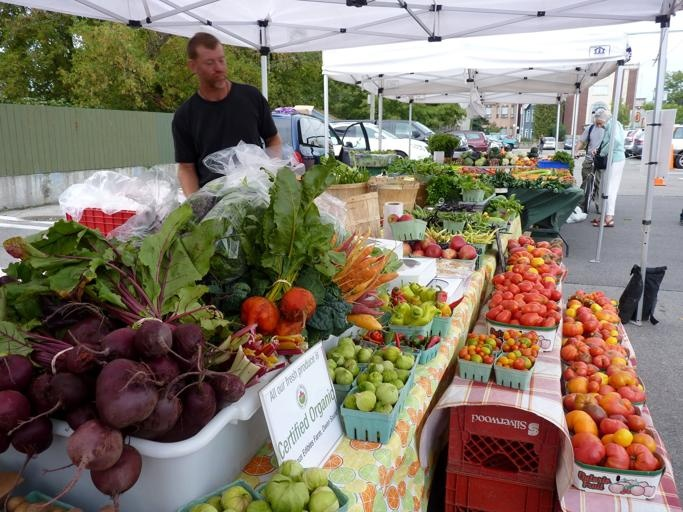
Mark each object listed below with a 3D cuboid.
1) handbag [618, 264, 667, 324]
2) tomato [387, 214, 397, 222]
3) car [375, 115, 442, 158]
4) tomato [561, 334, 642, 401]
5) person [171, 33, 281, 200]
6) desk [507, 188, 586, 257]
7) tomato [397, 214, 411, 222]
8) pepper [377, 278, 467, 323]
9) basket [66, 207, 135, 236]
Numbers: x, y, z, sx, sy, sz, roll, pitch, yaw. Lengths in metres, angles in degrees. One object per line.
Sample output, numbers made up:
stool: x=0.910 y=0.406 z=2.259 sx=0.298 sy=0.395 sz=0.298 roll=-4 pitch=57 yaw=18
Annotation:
handbag: x=3.417 y=0.421 z=5.101 sx=0.464 sy=0.660 sz=0.286 roll=4 pitch=17 yaw=10
tomato: x=0.419 y=-0.309 z=3.697 sx=0.073 sy=0.059 sz=0.061 roll=-27 pitch=-18 yaw=25
car: x=2.345 y=-3.920 z=15.699 sx=2.908 sy=1.509 sz=1.717 roll=-1 pitch=23 yaw=4
tomato: x=1.571 y=0.677 z=2.709 sx=0.343 sy=0.211 sz=0.412 roll=-15 pitch=19 yaw=-34
person: x=-0.874 y=-1.064 z=3.456 sx=0.822 sy=1.112 sz=0.659 roll=-5 pitch=17 yaw=-18
desk: x=3.628 y=-0.739 z=7.680 sx=1.551 sy=1.202 sz=1.332 roll=7 pitch=13 yaw=37
tomato: x=0.508 y=-0.302 z=3.628 sx=0.071 sy=0.072 sz=0.070 roll=-3 pitch=2 yaw=37
pepper: x=0.415 y=0.242 z=2.398 sx=0.256 sy=0.111 sz=0.377 roll=2 pitch=10 yaw=22
basket: x=-1.351 y=-0.206 z=2.549 sx=0.254 sy=0.086 sz=0.171 roll=6 pitch=20 yaw=5
